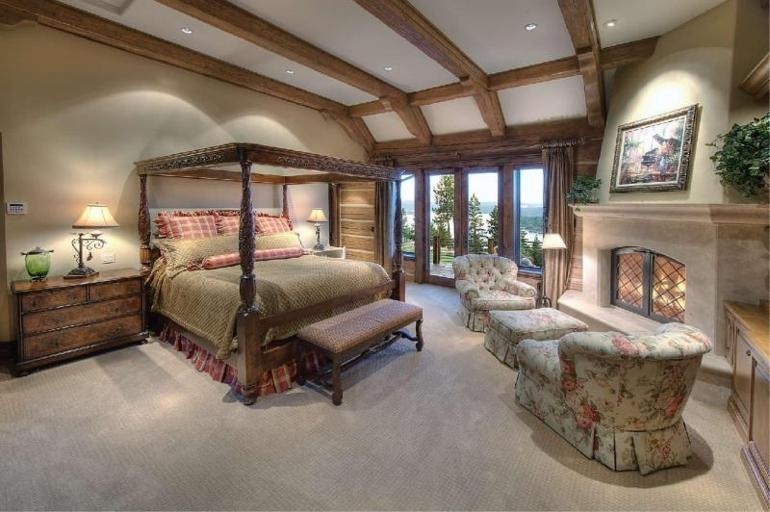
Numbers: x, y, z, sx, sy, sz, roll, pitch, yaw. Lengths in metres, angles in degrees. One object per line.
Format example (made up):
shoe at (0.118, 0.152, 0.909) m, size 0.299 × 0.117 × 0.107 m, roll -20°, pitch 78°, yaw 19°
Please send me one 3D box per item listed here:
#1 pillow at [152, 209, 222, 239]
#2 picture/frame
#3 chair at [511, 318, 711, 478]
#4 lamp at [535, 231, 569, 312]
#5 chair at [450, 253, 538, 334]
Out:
pillow at (-2.894, -0.458, 6.241) m, size 0.654 × 0.467 × 0.192 m, roll 2°, pitch -26°, yaw -40°
picture/frame at (3.438, -1.301, 5.462) m, size 0.086 × 0.948 × 1.008 m, roll -1°, pitch 6°, yaw -22°
chair at (2.385, 1.269, 4.466) m, size 1.483 × 1.186 × 1.675 m, roll -3°, pitch 7°, yaw -11°
lamp at (2.723, 0.244, 6.878) m, size 0.448 × 1.239 × 0.714 m, roll -1°, pitch 7°, yaw 21°
chair at (1.642, 0.514, 6.596) m, size 1.153 × 0.956 × 1.146 m, roll 0°, pitch 9°, yaw -6°
